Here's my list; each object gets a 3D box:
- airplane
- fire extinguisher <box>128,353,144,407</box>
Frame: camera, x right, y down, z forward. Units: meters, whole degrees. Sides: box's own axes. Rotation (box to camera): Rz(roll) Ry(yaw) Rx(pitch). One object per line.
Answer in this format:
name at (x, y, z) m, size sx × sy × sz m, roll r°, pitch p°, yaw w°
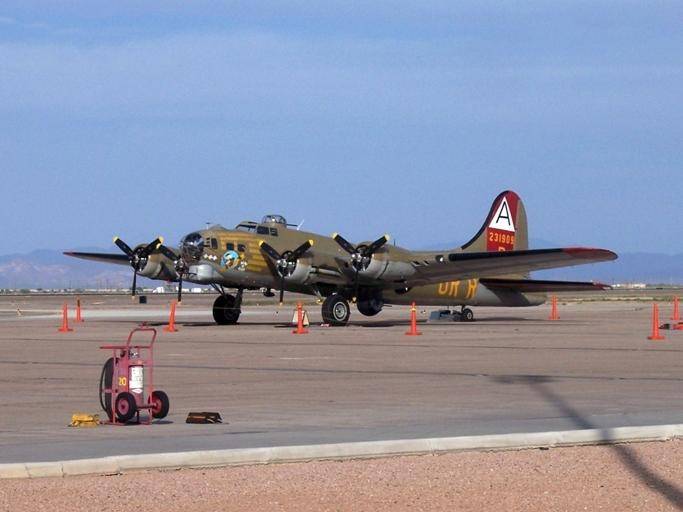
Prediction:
airplane at (0.834, -0.078, 35.774) m, size 16.746 × 5.794 × 8.781 m, roll 1°, pitch -1°, yaw -22°
fire extinguisher at (-2.908, 1.770, 12.846) m, size 0.192 × 0.405 × 0.114 m, roll 2°, pitch -1°, yaw 3°
